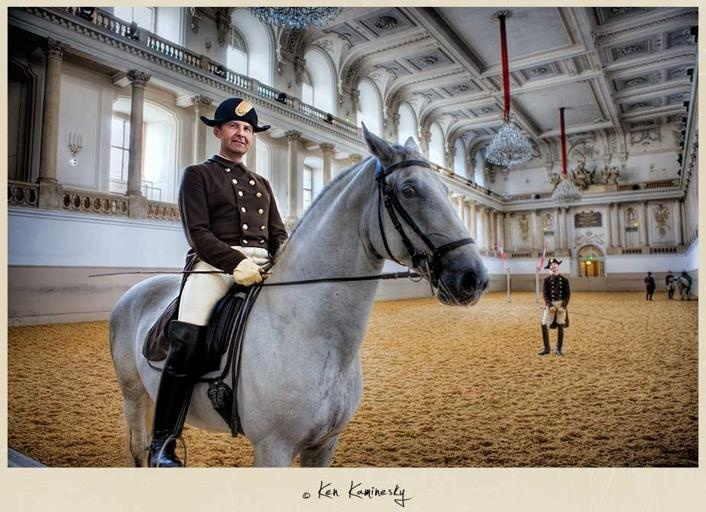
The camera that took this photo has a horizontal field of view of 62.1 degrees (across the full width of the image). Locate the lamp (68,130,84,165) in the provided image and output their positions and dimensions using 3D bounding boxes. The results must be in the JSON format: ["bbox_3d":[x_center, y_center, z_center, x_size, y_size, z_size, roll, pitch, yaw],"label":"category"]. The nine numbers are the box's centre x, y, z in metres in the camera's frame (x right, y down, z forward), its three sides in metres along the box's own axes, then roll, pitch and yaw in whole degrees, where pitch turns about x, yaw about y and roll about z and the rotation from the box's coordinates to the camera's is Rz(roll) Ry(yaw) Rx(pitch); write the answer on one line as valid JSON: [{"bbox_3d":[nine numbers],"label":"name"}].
[{"bbox_3d":[-6.777,-2.643,14.317,0.349,0.821,0.619,-3,9,-24],"label":"lamp"}]

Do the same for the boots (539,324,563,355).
[{"bbox_3d":[3.642,1.538,10.814,0.520,0.706,0.547,-1,-8,11],"label":"boots"}]

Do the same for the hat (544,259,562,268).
[{"bbox_3d":[6.919,0.206,20.317,0.457,0.200,0.484,-5,-5,12],"label":"hat"}]

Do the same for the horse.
[{"bbox_3d":[-0.868,1.076,6.113,4.483,3.959,1.522,-4,-7,33],"label":"horse"}]

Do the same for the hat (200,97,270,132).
[{"bbox_3d":[-1.188,-1.388,5.805,0.476,0.214,0.443,0,2,19],"label":"hat"}]
